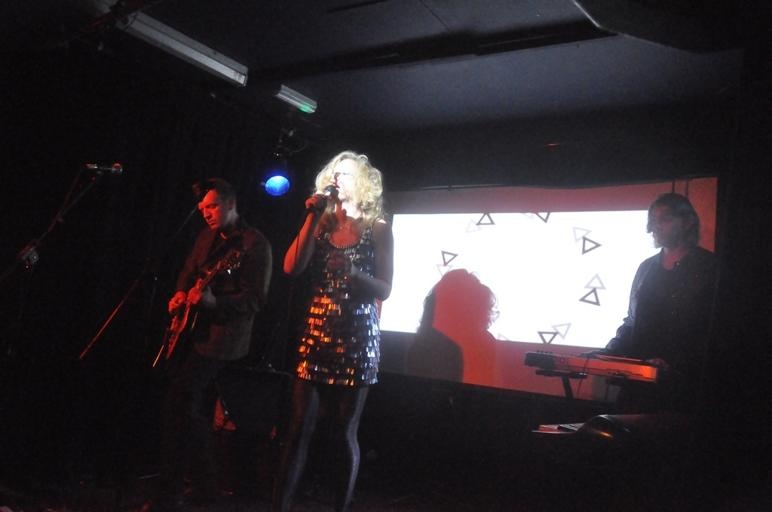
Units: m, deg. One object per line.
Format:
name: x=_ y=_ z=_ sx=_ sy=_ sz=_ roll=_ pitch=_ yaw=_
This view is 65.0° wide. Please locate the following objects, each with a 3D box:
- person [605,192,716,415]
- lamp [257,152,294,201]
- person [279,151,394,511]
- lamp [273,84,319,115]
person: x=2.245 y=0.353 z=4.895 sx=0.694 sy=1.804 sz=0.312 roll=5 pitch=-12 yaw=21
lamp: x=-1.029 y=-0.781 z=6.064 sx=0.253 sy=0.419 sz=0.415 roll=5 pitch=-5 yaw=-3
person: x=-0.361 y=0.435 z=3.955 sx=0.717 sy=2.394 sz=0.446 roll=10 pitch=-12 yaw=-3
lamp: x=-0.855 y=-1.506 z=5.883 sx=0.178 sy=0.107 sz=0.559 roll=-1 pitch=-15 yaw=41
